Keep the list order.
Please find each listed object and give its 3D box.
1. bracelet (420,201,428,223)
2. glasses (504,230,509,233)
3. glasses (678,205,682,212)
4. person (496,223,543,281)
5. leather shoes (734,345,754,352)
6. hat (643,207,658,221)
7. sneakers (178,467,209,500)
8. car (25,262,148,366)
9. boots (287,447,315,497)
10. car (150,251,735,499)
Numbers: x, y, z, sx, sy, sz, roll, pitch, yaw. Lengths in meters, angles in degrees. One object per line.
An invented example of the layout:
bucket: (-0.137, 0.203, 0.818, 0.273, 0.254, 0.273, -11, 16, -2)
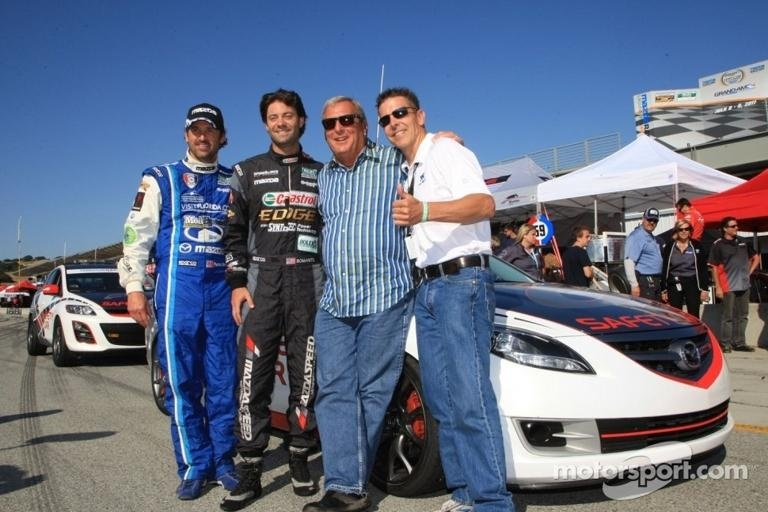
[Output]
bracelet: (0.275, -0.297, 3.632, 0.055, 0.118, 0.030, -3, 1, -6)
glasses: (2.678, -0.542, 11.989, 0.068, 0.073, 0.088, -7, -4, -19)
glasses: (5.532, -0.896, 10.313, 0.051, 0.059, 0.066, 1, -6, -17)
person: (2.136, -0.066, 8.512, 0.422, 1.244, 1.080, -4, -3, 40)
leather shoes: (5.638, 1.473, 8.641, 0.309, 0.138, 0.106, -3, 1, -1)
hat: (4.358, -0.683, 9.047, 0.174, 0.153, 0.258, 4, 3, 0)
sneakers: (-1.478, 1.796, 4.324, 0.106, 0.131, 0.275, 4, -5, 1)
car: (-5.289, 0.961, 9.813, 1.770, 1.530, 3.228, 4, -6, -37)
boots: (-0.633, 1.670, 4.276, 0.151, 0.288, 0.417, -4, 12, -20)
car: (0.914, 0.853, 4.156, 2.491, 0.935, 1.372, -6, -7, 41)
